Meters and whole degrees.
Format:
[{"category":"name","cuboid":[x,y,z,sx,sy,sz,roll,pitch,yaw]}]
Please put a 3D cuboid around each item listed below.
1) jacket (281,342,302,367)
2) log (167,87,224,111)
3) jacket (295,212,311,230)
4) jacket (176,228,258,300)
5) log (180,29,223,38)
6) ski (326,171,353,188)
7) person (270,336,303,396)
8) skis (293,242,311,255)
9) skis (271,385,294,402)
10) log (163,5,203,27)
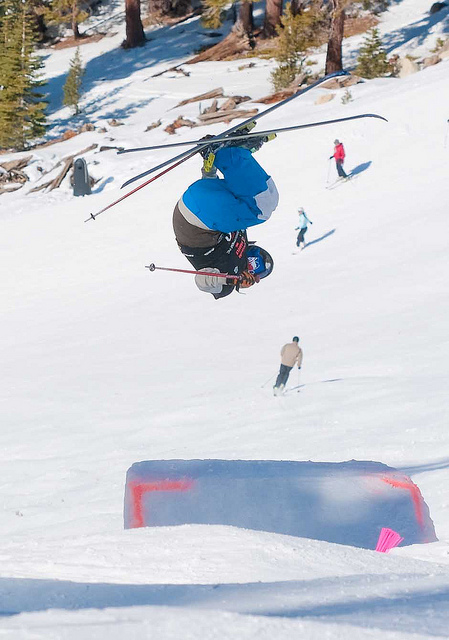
[{"category":"jacket","cuboid":[1.058,0.561,15.460,0.446,0.384,0.227,9,29,12]},{"category":"log","cuboid":[-0.896,-7.583,32.839,2.297,0.362,0.522,-11,48,28]},{"category":"jacket","cuboid":[1.668,-2.122,20.774,0.244,0.445,0.377,-7,31,3]},{"category":"jacket","cuboid":[-0.100,-0.628,11.126,0.662,1.086,0.700,-3,32,9]},{"category":"log","cuboid":[-0.937,-12.693,42.856,2.128,0.319,0.261,14,49,27]},{"category":"ski","cuboid":[2.856,-3.514,24.141,0.747,0.059,0.130,-38,65,-13]},{"category":"person","cuboid":[0.968,0.749,15.547,0.557,1.017,0.619,2,33,16]},{"category":"skis","cuboid":[1.730,-1.620,21.811,0.533,0.054,0.075,-31,58,-23]},{"category":"skis","cuboid":[0.961,1.169,15.790,0.093,0.073,0.702,31,20,22]},{"category":"log","cuboid":[-2.012,-14.445,46.021,2.473,0.395,0.979,-26,34,-33]}]
